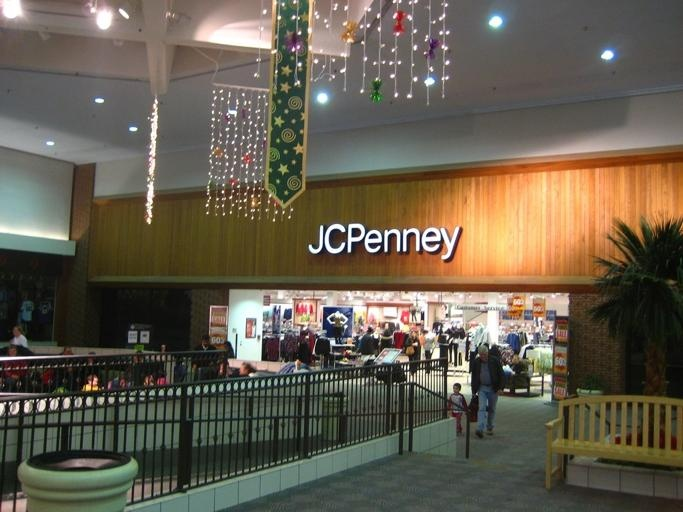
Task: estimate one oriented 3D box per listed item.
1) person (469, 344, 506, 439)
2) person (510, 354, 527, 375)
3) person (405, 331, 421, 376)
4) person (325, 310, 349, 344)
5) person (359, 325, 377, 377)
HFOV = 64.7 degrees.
[{"bbox_3d":[2.721,2.577,10.263,0.538,1.632,0.683,-1,-6,42],"label":"person"},{"bbox_3d":[5.047,3.131,15.546,0.298,0.852,0.256,-13,-32,35],"label":"person"},{"bbox_3d":[2.131,2.971,16.729,0.333,1.147,0.290,10,-10,-25],"label":"person"},{"bbox_3d":[-0.140,2.539,19.527,0.841,1.144,0.922,-1,-6,-2],"label":"person"},{"bbox_3d":[0.782,2.988,17.753,0.437,1.588,0.402,9,28,6],"label":"person"}]
